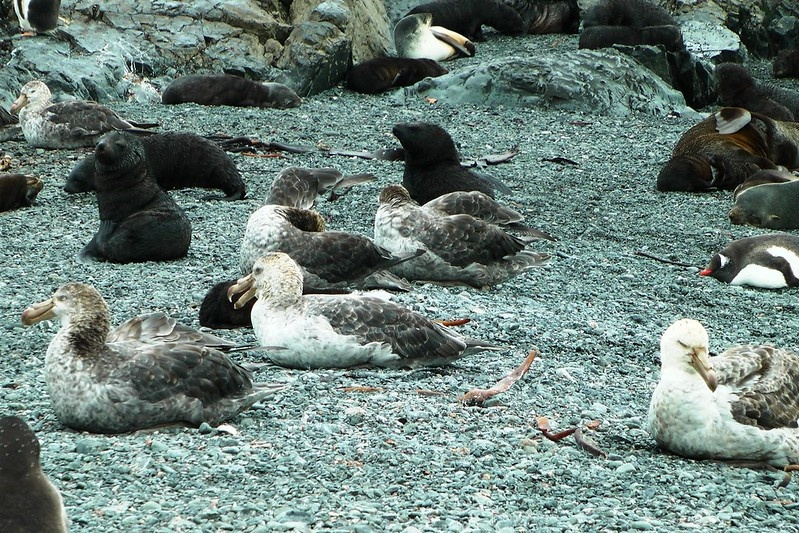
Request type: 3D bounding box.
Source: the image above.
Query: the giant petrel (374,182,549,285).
[{"bbox_3d":[0.523,-0.366,9.450,1.809,0.981,1.048,-9,19,-31],"label":"giant petrel"}]

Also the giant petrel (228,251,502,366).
[{"bbox_3d":[-0.281,0.351,7.420,1.970,0.693,0.810,2,-9,-9],"label":"giant petrel"}]

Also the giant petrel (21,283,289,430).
[{"bbox_3d":[-1.715,0.603,6.824,1.608,0.768,1.084,-1,1,-17],"label":"giant petrel"}]

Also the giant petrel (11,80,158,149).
[{"bbox_3d":[-4.078,-1.975,12.584,2.023,0.723,0.922,-7,18,-38],"label":"giant petrel"}]
